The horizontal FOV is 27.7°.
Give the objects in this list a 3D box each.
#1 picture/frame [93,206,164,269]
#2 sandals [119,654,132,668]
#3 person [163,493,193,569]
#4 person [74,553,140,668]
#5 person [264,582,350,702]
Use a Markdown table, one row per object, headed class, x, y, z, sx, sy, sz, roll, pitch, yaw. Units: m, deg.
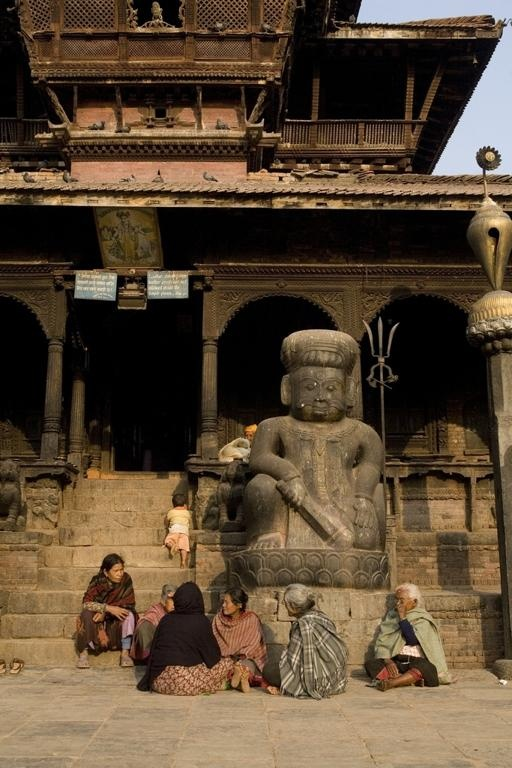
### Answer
| class | x | y | z | sx | sy | sz | roll | pitch | yaw |
| --- | --- | --- | --- | --- | --- | --- | --- | --- | --- |
| picture/frame | -1.754 | -2.020 | 14.141 | 0.843 | 0.063 | 1.068 | -1 | -46 | 3 |
| sandals | -0.983 | 2.079 | 7.785 | 0.065 | 0.059 | 0.141 | 4 | -16 | -13 |
| person | -0.801 | 1.497 | 10.711 | 0.273 | 0.717 | 0.281 | 6 | -38 | -17 |
| person | -1.124 | 1.712 | 7.912 | 0.504 | 0.824 | 0.627 | -1 | -5 | 25 |
| person | 0.334 | 1.755 | 7.071 | 0.559 | 0.906 | 0.721 | -3 | -14 | 13 |
